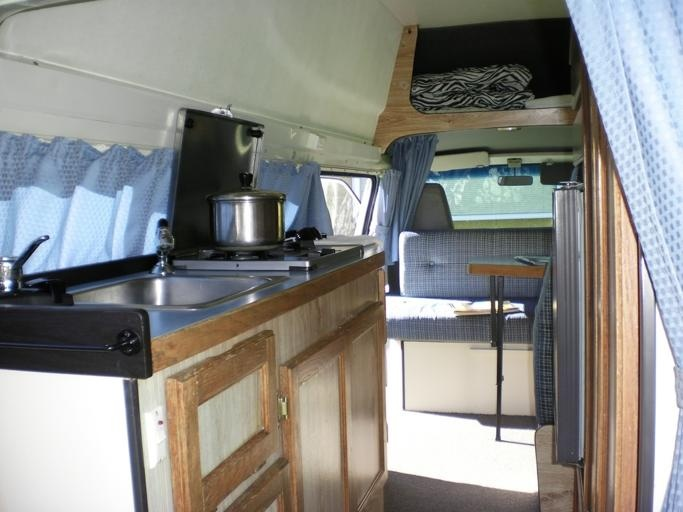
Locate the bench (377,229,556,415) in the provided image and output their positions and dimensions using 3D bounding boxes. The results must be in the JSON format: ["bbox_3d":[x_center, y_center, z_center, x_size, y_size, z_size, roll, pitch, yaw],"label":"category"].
[{"bbox_3d":[1.015,0.443,4.120,1.202,1.133,0.936,-1,9,14],"label":"bench"}]

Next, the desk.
[{"bbox_3d":[1.127,0.653,3.892,0.547,1.102,1.233,-1,-3,15],"label":"desk"}]

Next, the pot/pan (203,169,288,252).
[{"bbox_3d":[-0.346,-0.160,2.069,0.287,0.268,0.282,-4,3,-32],"label":"pot/pan"}]
